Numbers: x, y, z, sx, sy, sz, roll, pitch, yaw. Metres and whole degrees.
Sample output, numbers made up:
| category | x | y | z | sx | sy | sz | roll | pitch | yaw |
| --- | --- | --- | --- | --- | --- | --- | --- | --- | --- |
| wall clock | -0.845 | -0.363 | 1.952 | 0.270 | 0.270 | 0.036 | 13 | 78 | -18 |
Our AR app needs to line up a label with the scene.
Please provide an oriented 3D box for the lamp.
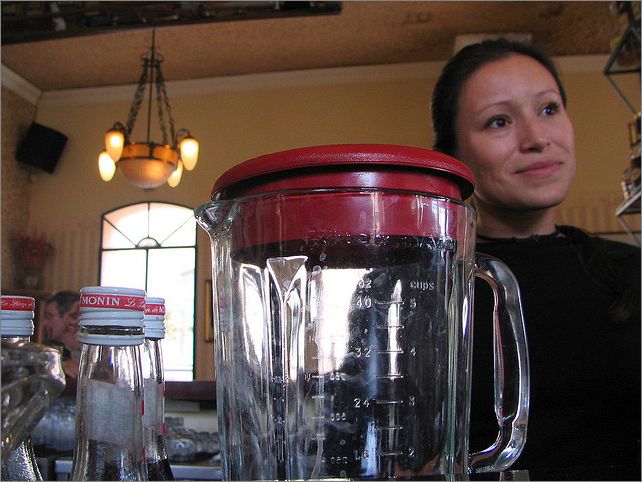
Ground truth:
| category | x | y | z | sx | sy | sz | roll | pitch | yaw |
| --- | --- | --- | --- | --- | --- | --- | --- | --- | --- |
| lamp | -0.677 | -0.530 | 2.939 | 0.441 | 0.623 | 0.460 | -2 | -6 | 31 |

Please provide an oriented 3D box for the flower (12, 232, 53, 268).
| category | x | y | z | sx | sy | sz | roll | pitch | yaw |
| --- | --- | --- | --- | --- | --- | --- | --- | --- | --- |
| flower | -1.439 | 0.041 | 3.628 | 0.107 | 0.167 | 0.308 | -1 | -11 | 5 |

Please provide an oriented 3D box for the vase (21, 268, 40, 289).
| category | x | y | z | sx | sy | sz | roll | pitch | yaw |
| --- | --- | --- | --- | --- | --- | --- | --- | --- | --- |
| vase | -1.462 | 0.189 | 3.714 | 0.081 | 0.113 | 0.101 | -8 | -9 | 21 |
